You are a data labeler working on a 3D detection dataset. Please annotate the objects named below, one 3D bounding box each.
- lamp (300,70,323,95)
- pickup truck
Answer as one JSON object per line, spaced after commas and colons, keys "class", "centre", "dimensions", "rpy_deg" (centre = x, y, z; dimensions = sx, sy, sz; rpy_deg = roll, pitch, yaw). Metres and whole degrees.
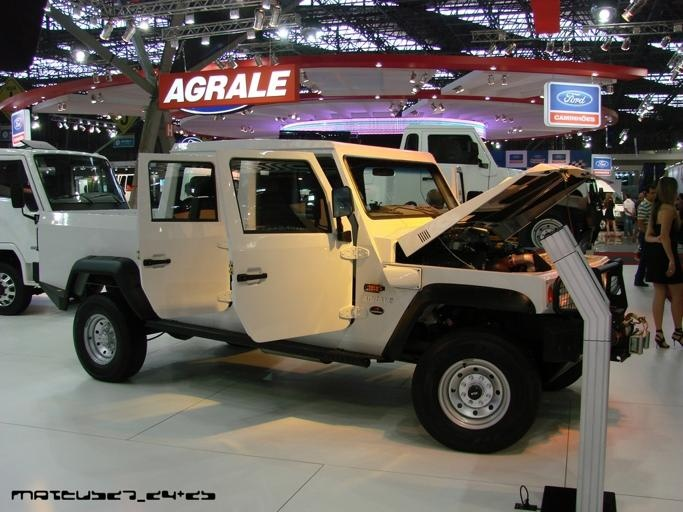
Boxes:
{"class": "lamp", "centre": [-1.021, -5.365, 15.357], "dimensions": [0.726, 0.274, 0.836], "rpy_deg": [-10, -8, -2]}
{"class": "pickup truck", "centre": [-0.458, 0.113, 5.076], "dimensions": [5.061, 1.819, 2.814], "rpy_deg": [2, 4, 26]}
